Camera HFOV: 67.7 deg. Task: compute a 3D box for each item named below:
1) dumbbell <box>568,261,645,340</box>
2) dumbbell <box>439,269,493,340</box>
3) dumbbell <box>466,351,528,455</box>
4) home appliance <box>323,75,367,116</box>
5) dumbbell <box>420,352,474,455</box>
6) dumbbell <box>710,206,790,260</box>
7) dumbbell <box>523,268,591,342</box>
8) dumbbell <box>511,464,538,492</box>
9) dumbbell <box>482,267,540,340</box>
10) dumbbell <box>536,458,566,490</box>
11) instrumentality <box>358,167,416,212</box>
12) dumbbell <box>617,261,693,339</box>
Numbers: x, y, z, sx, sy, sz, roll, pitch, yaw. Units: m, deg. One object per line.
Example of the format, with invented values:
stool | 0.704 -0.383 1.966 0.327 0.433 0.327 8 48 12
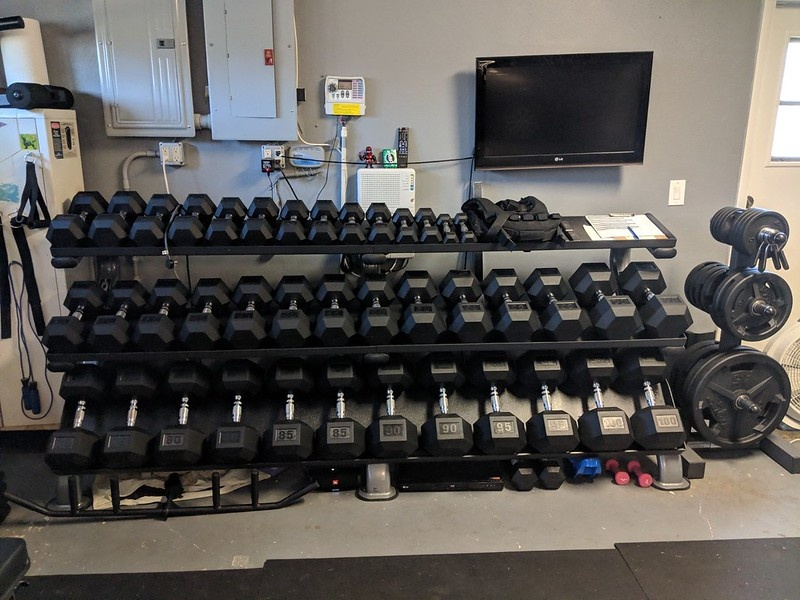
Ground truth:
dumbbell | 1.045 0.001 3.071 0.219 0.186 0.438 1 24 2
dumbbell | 0.352 -0.011 3.245 0.165 0.144 0.357 -22 -24 3
dumbbell | 0.494 0.531 3.008 0.276 0.429 0.308 1 20 7
home appliance | -0.307 -1.127 3.270 0.199 0.177 0.081 -1 9 -4
dumbbell | 0.228 0.519 3.020 0.224 0.188 0.493 0 47 -1
dumbbell | 1.790 -0.352 3.041 0.122 0.145 0.291 17 15 -3
dumbbell | 0.804 0.030 3.009 0.195 0.180 0.420 0 20 0
dumbbell | 0.631 0.916 3.054 0.129 0.130 0.128 -1 14 1
dumbbell | 0.561 0.008 3.031 0.305 0.131 0.316 2 41 -2
dumbbell | 0.774 0.896 3.057 0.140 0.115 0.163 0 12 4
instrumentality | -0.086 -0.594 3.402 0.342 0.307 0.131 -4 17 -15
dumbbell | 1.305 0.005 3.087 0.212 0.168 0.410 5 32 -10
